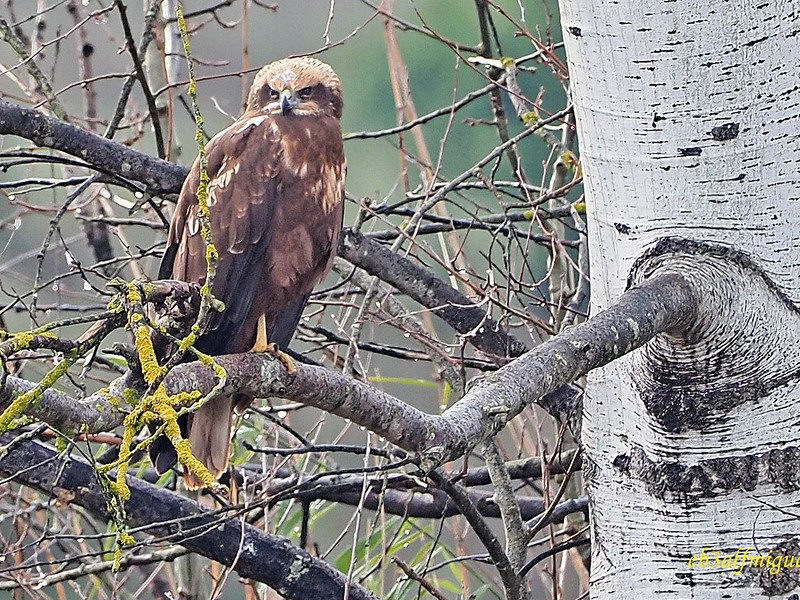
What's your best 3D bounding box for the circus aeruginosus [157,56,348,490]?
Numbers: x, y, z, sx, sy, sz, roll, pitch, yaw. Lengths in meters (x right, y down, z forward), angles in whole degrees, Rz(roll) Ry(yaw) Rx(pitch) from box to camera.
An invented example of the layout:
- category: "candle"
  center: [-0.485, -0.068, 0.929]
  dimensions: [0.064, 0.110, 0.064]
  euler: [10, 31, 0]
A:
- category: "circus aeruginosus"
  center: [-0.598, -0.144, 6.008]
  dimensions: [0.705, 1.049, 1.685]
  euler: [-3, -81, -15]
